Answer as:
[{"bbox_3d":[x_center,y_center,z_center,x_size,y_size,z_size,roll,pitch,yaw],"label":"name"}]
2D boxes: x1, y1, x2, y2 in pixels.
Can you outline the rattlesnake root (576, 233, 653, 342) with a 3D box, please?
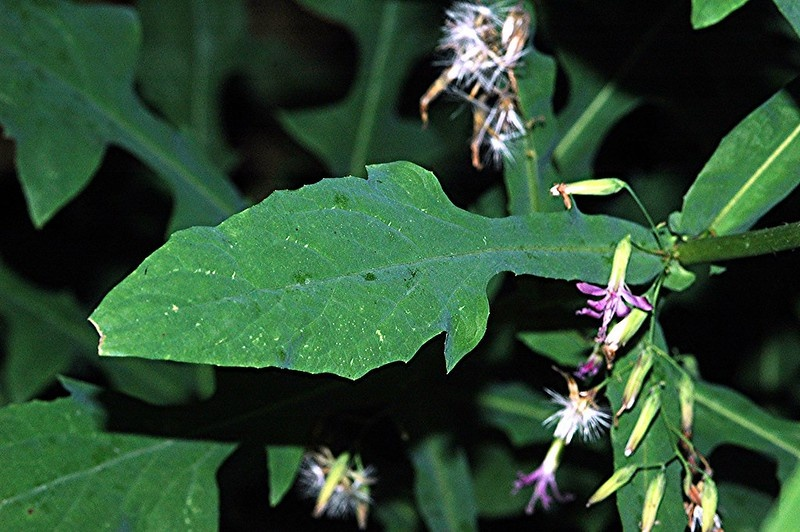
[{"bbox_3d":[0.465,0.047,1.702,0.067,0.246,0.148,7,0,-32],"label":"rattlesnake root"}]
